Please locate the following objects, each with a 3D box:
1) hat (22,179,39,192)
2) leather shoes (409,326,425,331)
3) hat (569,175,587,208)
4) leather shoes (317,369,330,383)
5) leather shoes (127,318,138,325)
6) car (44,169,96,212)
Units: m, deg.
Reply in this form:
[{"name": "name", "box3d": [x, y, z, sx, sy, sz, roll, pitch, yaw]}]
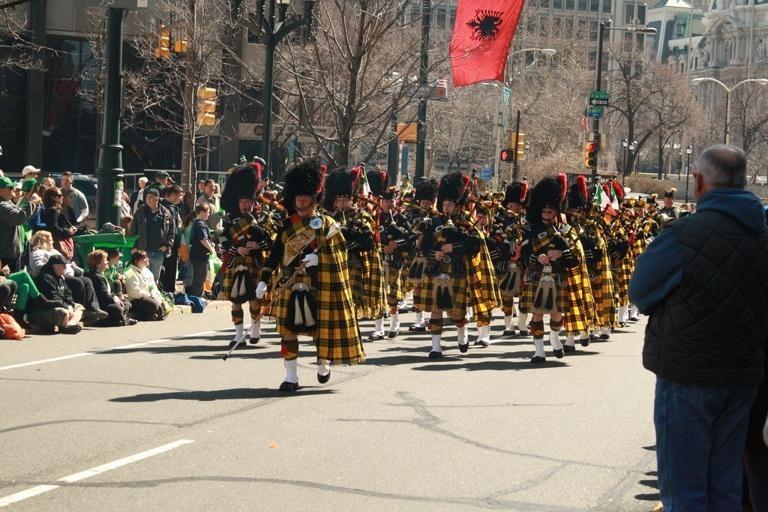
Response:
[{"name": "hat", "box3d": [-6.153, -1.236, 20.349, 0.256, 0.216, 0.337, 1, 6, -42]}, {"name": "leather shoes", "box3d": [0.518, 1.203, 19.319, 0.258, 0.086, 0.092, 7, -8, -42]}, {"name": "hat", "box3d": [2.997, -1.044, 18.079, 0.246, 0.288, 0.660, 1, 38, 13]}, {"name": "leather shoes", "box3d": [-0.782, 1.557, 14.876, 0.125, 0.132, 0.203, 1, -34, -1]}, {"name": "leather shoes", "box3d": [-4.046, 1.056, 18.714, 0.113, 0.045, 0.155, -6, 5, 19]}, {"name": "car", "box3d": [-6.789, -1.426, 25.433, 1.717, 0.699, 0.919, 5, 1, 4]}]
